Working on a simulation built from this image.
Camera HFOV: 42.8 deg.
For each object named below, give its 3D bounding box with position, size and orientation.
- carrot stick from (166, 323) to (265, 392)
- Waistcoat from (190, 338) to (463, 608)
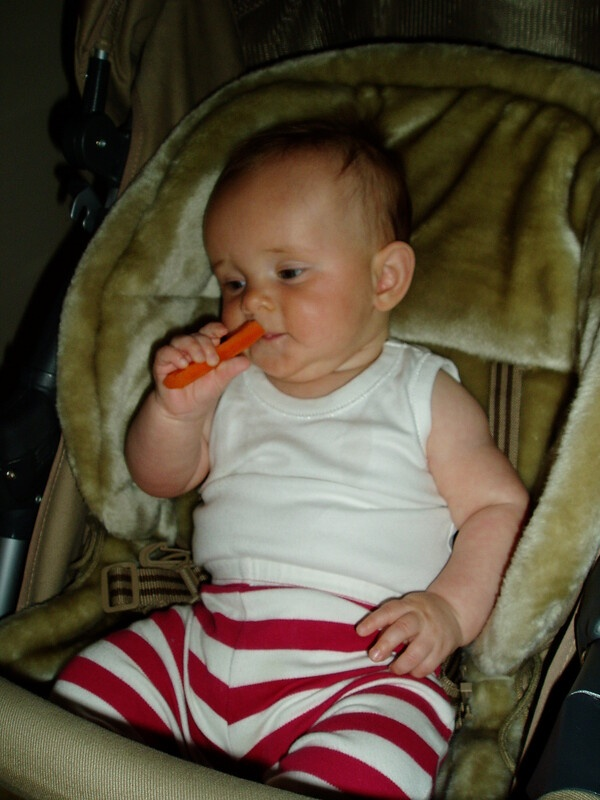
[{"bbox_3d":[-0.085,-0.046,0.808,0.111,0.028,0.055,-33,15,1],"label":"carrot stick"},{"bbox_3d":[0.025,0.067,0.837,0.248,0.119,0.293,5,71,18],"label":"Waistcoat"}]
